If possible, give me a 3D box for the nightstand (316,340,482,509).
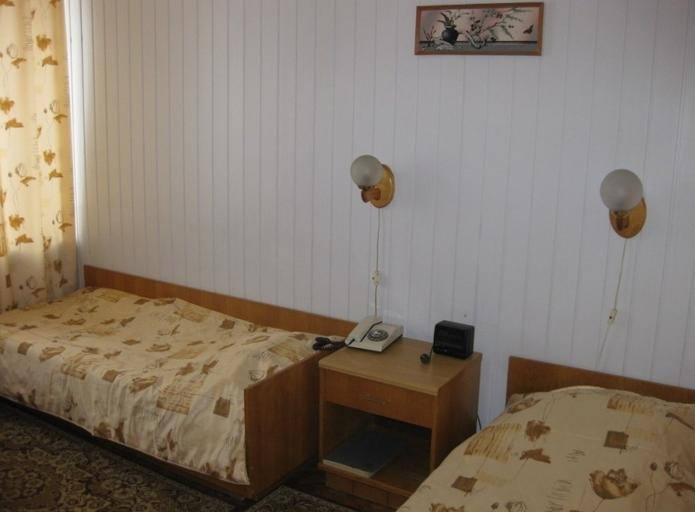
[{"bbox_3d":[0.242,0.825,3.062,0.926,0.931,0.754,7,13,34],"label":"nightstand"}]

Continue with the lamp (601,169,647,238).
[{"bbox_3d":[1.315,-0.231,2.518,0.179,0.359,0.356,11,17,33],"label":"lamp"}]

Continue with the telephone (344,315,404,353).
[{"bbox_3d":[0.167,0.459,3.139,0.285,0.127,0.375,-2,8,20],"label":"telephone"}]
